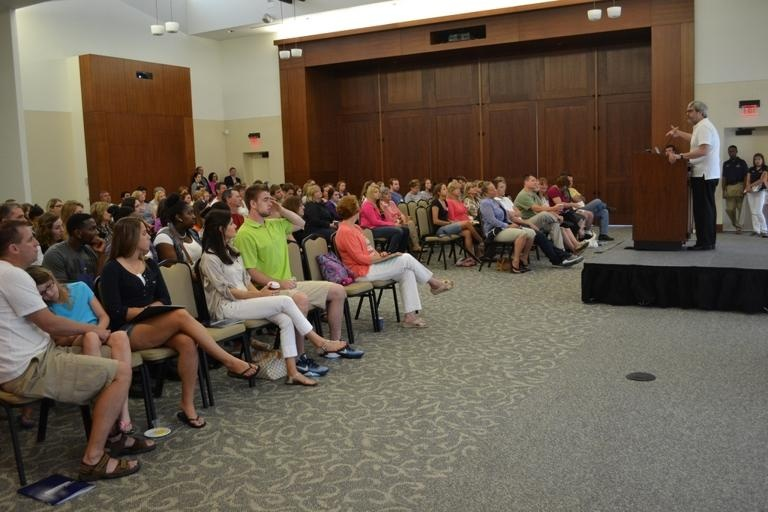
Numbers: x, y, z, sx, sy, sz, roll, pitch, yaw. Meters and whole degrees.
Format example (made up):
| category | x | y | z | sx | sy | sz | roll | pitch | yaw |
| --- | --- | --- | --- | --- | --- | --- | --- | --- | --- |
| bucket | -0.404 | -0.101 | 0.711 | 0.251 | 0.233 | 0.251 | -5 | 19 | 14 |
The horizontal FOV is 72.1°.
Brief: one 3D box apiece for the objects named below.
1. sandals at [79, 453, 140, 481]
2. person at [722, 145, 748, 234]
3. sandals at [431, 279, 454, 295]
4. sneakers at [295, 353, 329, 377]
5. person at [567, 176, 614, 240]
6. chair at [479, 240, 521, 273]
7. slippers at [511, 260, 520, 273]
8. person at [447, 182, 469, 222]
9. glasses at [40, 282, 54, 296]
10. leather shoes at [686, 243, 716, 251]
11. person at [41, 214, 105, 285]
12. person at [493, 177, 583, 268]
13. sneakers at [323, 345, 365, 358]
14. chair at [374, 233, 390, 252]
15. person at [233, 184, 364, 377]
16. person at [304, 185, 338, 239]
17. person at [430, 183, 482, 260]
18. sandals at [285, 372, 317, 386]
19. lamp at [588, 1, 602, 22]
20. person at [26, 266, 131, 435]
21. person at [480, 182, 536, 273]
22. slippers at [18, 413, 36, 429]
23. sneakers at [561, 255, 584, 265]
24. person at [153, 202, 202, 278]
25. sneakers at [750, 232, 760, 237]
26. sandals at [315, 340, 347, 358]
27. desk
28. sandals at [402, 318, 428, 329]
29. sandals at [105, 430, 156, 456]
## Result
| category | x | y | z | sx | sy | sz | roll | pitch | yaw |
| --- | --- | --- | --- | --- | --- | --- | --- | --- | --- |
| sandals | -1.821 | 1.408 | 3.510 | 0.290 | 0.134 | 0.167 | -1 | 4 | -14 |
| person | 8.190 | -1.584 | 12.402 | 0.510 | 1.955 | 0.295 | 4 | 11 | 33 |
| sandals | 0.722 | 0.390 | 6.526 | 0.295 | 0.102 | 0.154 | -16 | 15 | -33 |
| sneakers | -0.693 | 1.031 | 5.033 | 0.342 | 0.170 | 0.142 | 2 | 6 | 12 |
| person | 4.720 | -1.150 | 12.388 | 0.915 | 1.716 | 0.588 | -10 | -12 | 7 |
| chair | 2.111 | -0.006 | 9.769 | 0.531 | 0.722 | 0.721 | 0 | 4 | 28 |
| slippers | 2.290 | 0.159 | 9.193 | 0.153 | 0.221 | 0.156 | 0 | 10 | 13 |
| person | 1.492 | -1.033 | 10.658 | 0.462 | 0.874 | 0.557 | 5 | 17 | 32 |
| glasses | -2.387 | 0.232 | 3.760 | 0.069 | 0.050 | 0.092 | -15 | -7 | -7 |
| leather shoes | 4.499 | -0.119 | 7.539 | 0.385 | 0.162 | 0.148 | -1 | 4 | 26 |
| person | -2.873 | -0.057 | 4.897 | 0.415 | 0.773 | 0.578 | 3 | 7 | 3 |
| person | 3.020 | -0.712 | 9.772 | 0.649 | 1.655 | 1.270 | -2 | 6 | -38 |
| sneakers | -0.394 | 0.988 | 5.404 | 0.422 | 0.191 | 0.162 | -3 | -1 | 0 |
| chair | -0.044 | -0.271 | 10.142 | 0.270 | 0.365 | 0.303 | 4 | 10 | 28 |
| person | -0.904 | 0.164 | 5.311 | 1.125 | 1.837 | 0.914 | -4 | 5 | 28 |
| person | -1.108 | -0.810 | 10.009 | 0.770 | 1.091 | 0.684 | 0 | 13 | 5 |
| person | 1.492 | -0.667 | 10.271 | 0.679 | 1.683 | 0.918 | 4 | -9 | -45 |
| sandals | -0.747 | 1.116 | 4.811 | 0.269 | 0.133 | 0.123 | -1 | 2 | 7 |
| lamp | 5.110 | -5.973 | 12.858 | 0.334 | 0.515 | 0.822 | 1 | 11 | 21 |
| person | -2.180 | 0.611 | 3.886 | 0.631 | 1.194 | 0.398 | -3 | 17 | 40 |
| person | 2.192 | -0.539 | 9.361 | 0.781 | 1.546 | 0.905 | -9 | 12 | -36 |
| slippers | -2.881 | 1.302 | 4.263 | 0.093 | 0.106 | 0.254 | 0 | 1 | -34 |
| sneakers | 3.389 | 0.067 | 9.438 | 0.256 | 0.188 | 0.476 | 6 | 14 | 41 |
| person | -2.211 | -0.239 | 5.806 | 0.488 | 0.936 | 0.639 | 7 | 10 | 1 |
| sneakers | 8.191 | -0.483 | 11.688 | 0.253 | 0.109 | 0.089 | -2 | 7 | 19 |
| sandals | -0.520 | 0.911 | 5.261 | 0.326 | 0.160 | 0.128 | -12 | 42 | 16 |
| desk | 4.258 | -1.023 | 7.944 | 0.725 | 1.411 | 1.462 | 2 | 21 | 34 |
| sandals | 0.374 | 0.811 | 6.399 | 0.241 | 0.084 | 0.124 | 0 | 7 | 12 |
| sandals | -1.809 | 1.321 | 3.770 | 0.270 | 0.123 | 0.147 | 1 | 9 | -9 |
